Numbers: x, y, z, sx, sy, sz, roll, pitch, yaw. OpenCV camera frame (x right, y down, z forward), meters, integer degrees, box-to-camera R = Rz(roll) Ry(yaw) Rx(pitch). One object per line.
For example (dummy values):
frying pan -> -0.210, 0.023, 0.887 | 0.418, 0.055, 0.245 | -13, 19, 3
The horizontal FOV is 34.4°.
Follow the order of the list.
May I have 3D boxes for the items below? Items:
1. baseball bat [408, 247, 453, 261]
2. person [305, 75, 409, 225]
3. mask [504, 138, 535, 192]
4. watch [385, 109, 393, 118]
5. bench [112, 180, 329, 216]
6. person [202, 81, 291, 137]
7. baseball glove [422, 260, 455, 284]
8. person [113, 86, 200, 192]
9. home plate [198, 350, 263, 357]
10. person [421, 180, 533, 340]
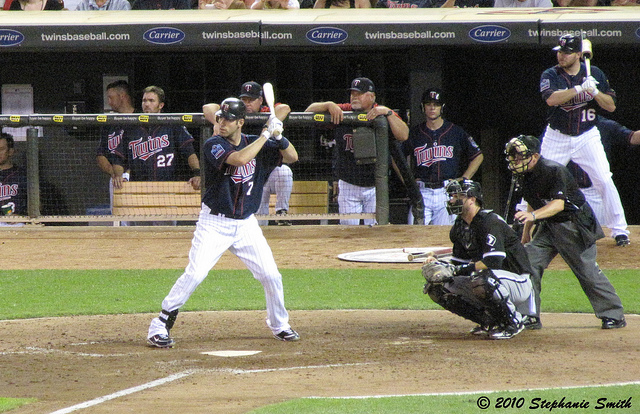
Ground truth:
baseball bat -> 1.420, 0.607, 13.230 | 0.727, 0.105, 0.131 | -8, 25, -17
person -> 0.626, -0.844, 16.166 | 1.379, 2.257, 0.638 | -2, 2, 0
mask -> 2.507, -0.514, 12.753 | 0.454, 0.619, 0.391 | 2, -8, -8
watch -> 1.073, -1.467, 16.082 | 0.085, 0.032, 0.065 | -36, -3, 35
bench -> -1.605, -0.042, 16.139 | 3.511, 0.582, 0.551 | -2, 15, -2
person -> -1.056, -1.483, 14.975 | 0.924, 0.549, 1.160 | 1, 8, 25
baseball glove -> 1.433, 0.790, 12.414 | 0.363, 0.259, 0.241 | -4, 2, -22
person -> -2.649, -0.950, 16.201 | 1.572, 1.855, 1.036 | -6, 24, -23
home plate -> -1.024, 1.689, 11.955 | 0.686, 0.037, 0.220 | -2, 1, 0
person -> 1.896, 0.626, 12.423 | 1.273, 1.909, 0.585 | -2, 2, 9
